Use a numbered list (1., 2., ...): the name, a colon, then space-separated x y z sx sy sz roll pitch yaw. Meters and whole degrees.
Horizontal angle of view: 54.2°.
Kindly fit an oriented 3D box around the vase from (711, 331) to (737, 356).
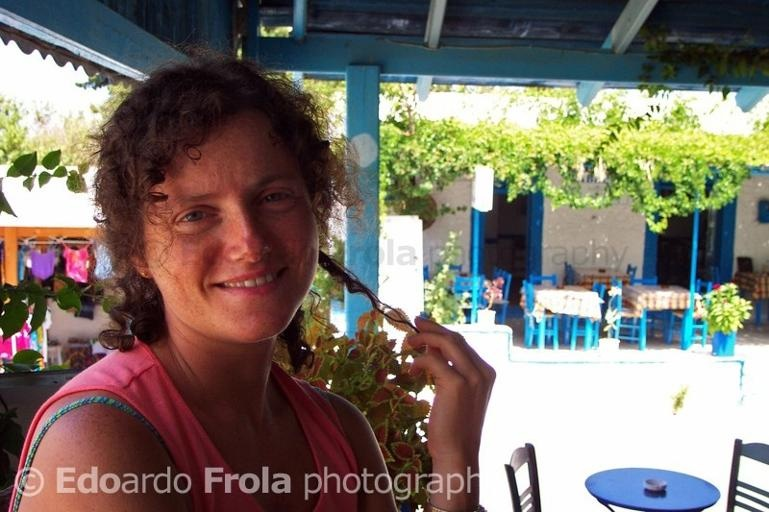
1. vase: 4.341 1.117 9.643 0.291 0.359 0.306 0 2 9

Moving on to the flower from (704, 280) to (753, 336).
1. flower: 4.248 0.705 9.344 0.460 0.268 0.528 -5 14 -43
